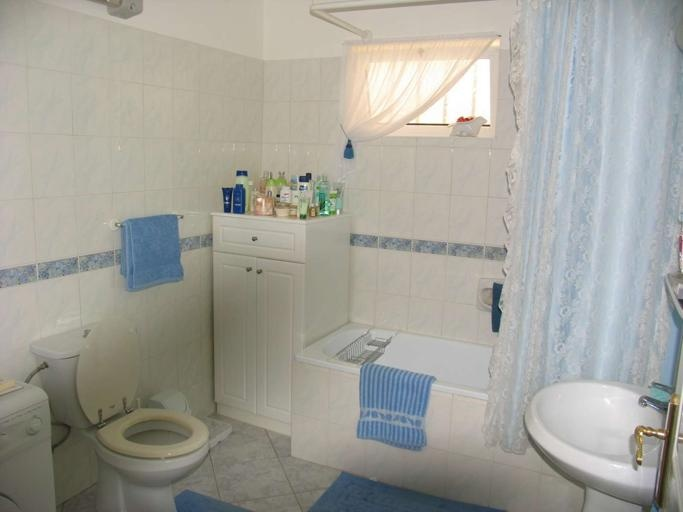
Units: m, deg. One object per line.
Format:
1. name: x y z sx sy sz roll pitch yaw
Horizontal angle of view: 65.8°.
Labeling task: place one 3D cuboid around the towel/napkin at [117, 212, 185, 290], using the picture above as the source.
1. towel/napkin: -1.150 -0.035 3.126 0.133 0.425 0.398 8 12 35

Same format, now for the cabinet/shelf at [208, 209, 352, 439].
1. cabinet/shelf: -0.395 0.319 3.795 0.887 1.796 0.667 6 10 29

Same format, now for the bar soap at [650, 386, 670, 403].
1. bar soap: 1.142 0.496 1.898 0.050 0.015 0.047 3 31 44

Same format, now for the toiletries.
1. toiletries: -0.401 -0.417 3.669 0.590 0.382 0.356 10 15 26
